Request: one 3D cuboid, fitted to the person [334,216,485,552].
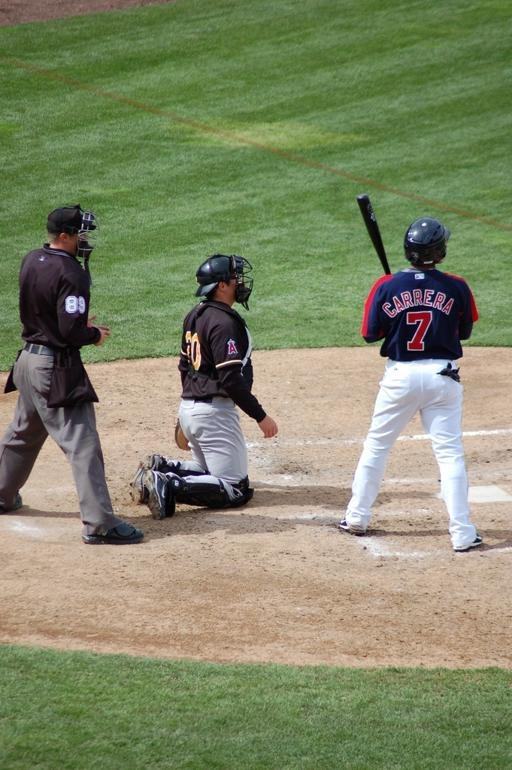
[{"bbox_3d":[0.679,0.112,4.802,0.620,1.215,0.391,1,15,3],"label":"person"}]

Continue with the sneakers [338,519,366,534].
[{"bbox_3d":[0.436,0.640,5.029,0.055,0.057,0.129,-4,15,-22],"label":"sneakers"}]

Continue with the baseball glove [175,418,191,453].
[{"bbox_3d":[-0.396,0.270,5.695,0.127,0.125,0.144,0,30,-9],"label":"baseball glove"}]

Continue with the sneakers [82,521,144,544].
[{"bbox_3d":[-0.638,0.647,4.866,0.264,0.104,0.102,-4,18,-12],"label":"sneakers"}]

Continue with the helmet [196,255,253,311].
[{"bbox_3d":[-0.175,-0.506,5.354,0.327,0.244,0.224,-5,11,-26],"label":"helmet"}]

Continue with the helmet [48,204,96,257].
[{"bbox_3d":[-0.838,-0.695,4.910,0.263,0.232,0.204,-3,27,-13],"label":"helmet"}]

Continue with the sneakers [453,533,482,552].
[{"bbox_3d":[0.932,0.678,4.832,0.052,0.061,0.149,19,27,40],"label":"sneakers"}]

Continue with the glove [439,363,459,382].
[{"bbox_3d":[0.842,-0.053,4.781,0.049,0.056,0.149,14,-4,43],"label":"glove"}]
